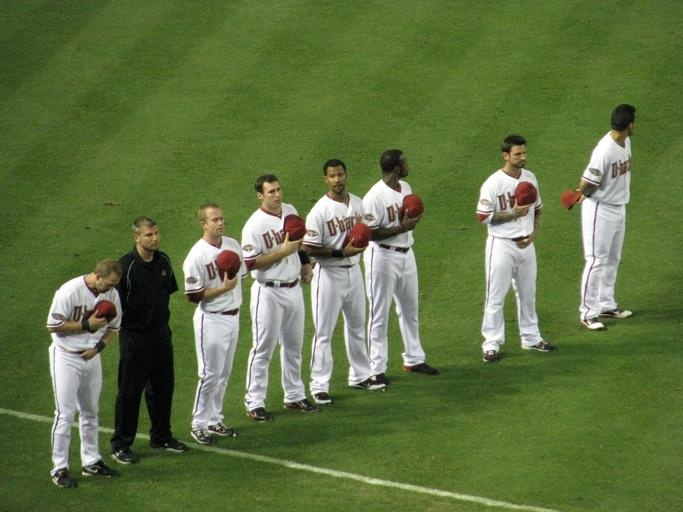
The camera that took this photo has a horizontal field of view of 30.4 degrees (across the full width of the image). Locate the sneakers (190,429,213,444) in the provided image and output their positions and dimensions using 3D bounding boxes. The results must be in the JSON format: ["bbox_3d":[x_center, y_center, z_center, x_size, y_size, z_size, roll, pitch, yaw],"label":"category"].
[{"bbox_3d":[-2.055,2.613,18.405,0.356,0.135,0.150,14,18,28],"label":"sneakers"}]

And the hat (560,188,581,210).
[{"bbox_3d":[3.834,-0.905,20.818,0.354,0.339,0.150,26,-16,36],"label":"hat"}]

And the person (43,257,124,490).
[{"bbox_3d":[-3.564,1.641,17.518,1.047,3.077,0.894,-3,-9,-4],"label":"person"}]

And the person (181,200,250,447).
[{"bbox_3d":[-1.825,0.992,18.314,0.835,3.424,0.915,-2,-9,-5],"label":"person"}]

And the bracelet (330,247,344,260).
[{"bbox_3d":[-0.064,-0.033,18.989,0.179,0.128,0.092,-2,-9,-8],"label":"bracelet"}]

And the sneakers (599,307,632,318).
[{"bbox_3d":[4.542,0.960,20.891,0.516,0.164,0.186,-3,9,5],"label":"sneakers"}]

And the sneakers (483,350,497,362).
[{"bbox_3d":[2.363,1.587,20.020,0.183,0.140,0.354,-1,-5,2],"label":"sneakers"}]

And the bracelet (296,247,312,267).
[{"bbox_3d":[-0.585,0.011,18.964,0.218,0.251,0.077,-36,4,-16],"label":"bracelet"}]

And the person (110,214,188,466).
[{"bbox_3d":[-2.794,1.197,17.863,1.020,3.424,1.203,-2,-9,-8],"label":"person"}]

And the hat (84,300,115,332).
[{"bbox_3d":[-3.355,0.822,17.423,0.466,0.421,0.199,-1,-9,-11],"label":"hat"}]

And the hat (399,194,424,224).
[{"bbox_3d":[1.085,-0.753,19.370,0.301,0.441,0.257,-1,-9,-11],"label":"hat"}]

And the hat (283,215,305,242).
[{"bbox_3d":[-0.721,-0.407,18.621,0.338,0.352,0.155,-19,16,-20],"label":"hat"}]

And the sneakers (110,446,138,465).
[{"bbox_3d":[-3.075,2.835,17.911,0.388,0.155,0.181,2,8,28],"label":"sneakers"}]

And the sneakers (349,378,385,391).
[{"bbox_3d":[0.401,1.997,19.631,0.533,0.195,0.185,-2,1,14],"label":"sneakers"}]

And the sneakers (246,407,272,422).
[{"bbox_3d":[-1.234,2.365,18.887,0.174,0.129,0.360,-8,7,-44],"label":"sneakers"}]

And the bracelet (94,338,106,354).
[{"bbox_3d":[-3.353,1.251,17.568,0.168,0.156,0.158,16,24,-43],"label":"bracelet"}]

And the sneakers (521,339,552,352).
[{"bbox_3d":[3.167,1.454,20.308,0.498,0.187,0.181,-1,3,18],"label":"sneakers"}]

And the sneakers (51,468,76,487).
[{"bbox_3d":[-3.840,3.071,17.464,0.374,0.153,0.194,7,13,34],"label":"sneakers"}]

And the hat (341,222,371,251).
[{"bbox_3d":[0.236,-0.296,18.893,0.374,0.395,0.195,-3,-9,-1],"label":"hat"}]

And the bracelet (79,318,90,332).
[{"bbox_3d":[-3.537,0.945,17.455,0.150,0.125,0.141,-2,-11,16],"label":"bracelet"}]

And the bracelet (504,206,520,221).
[{"bbox_3d":[2.687,-0.651,19.823,0.263,0.197,0.148,-5,-9,17],"label":"bracelet"}]

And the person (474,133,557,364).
[{"bbox_3d":[2.661,-0.088,20.014,1.105,3.477,1.195,-4,-9,5],"label":"person"}]

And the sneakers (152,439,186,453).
[{"bbox_3d":[-2.462,2.724,18.210,0.517,0.185,0.192,1,3,5],"label":"sneakers"}]

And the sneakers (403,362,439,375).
[{"bbox_3d":[1.268,1.783,19.956,0.545,0.189,0.188,-1,4,19],"label":"sneakers"}]

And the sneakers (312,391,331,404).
[{"bbox_3d":[-0.302,2.167,19.259,0.138,0.120,0.308,1,-2,-39],"label":"sneakers"}]

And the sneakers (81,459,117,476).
[{"bbox_3d":[-3.389,2.962,17.686,0.512,0.201,0.194,0,6,-1],"label":"sneakers"}]
